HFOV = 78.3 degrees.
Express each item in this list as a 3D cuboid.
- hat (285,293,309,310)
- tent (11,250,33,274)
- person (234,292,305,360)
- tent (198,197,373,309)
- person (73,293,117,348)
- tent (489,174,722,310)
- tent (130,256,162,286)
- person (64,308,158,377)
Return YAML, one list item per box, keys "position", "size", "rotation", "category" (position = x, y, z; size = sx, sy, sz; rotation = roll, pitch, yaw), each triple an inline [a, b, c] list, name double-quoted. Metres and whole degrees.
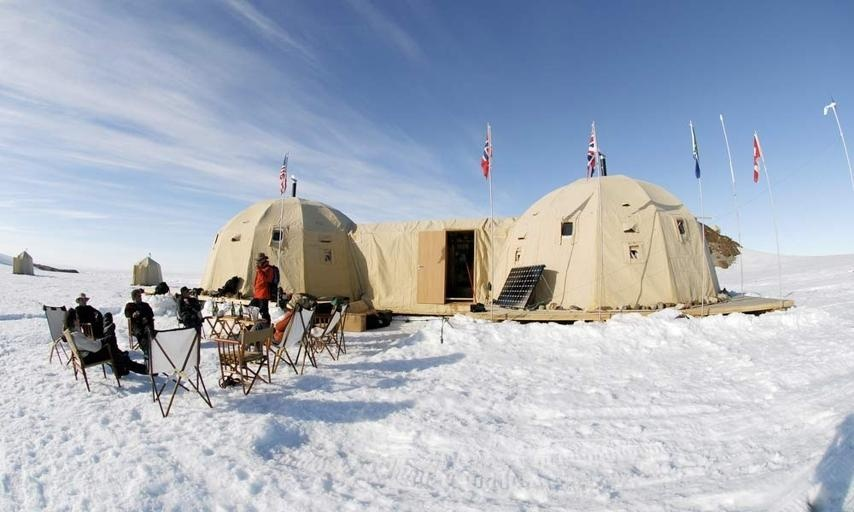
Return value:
- position: [-3.448, 1.145, 13.896]
  size: [0.773, 0.304, 0.961]
  rotation: [3, -6, -25]
  category: "hat"
- position: [-22.820, 0.438, 29.492]
  size: [1.286, 1.628, 0.974]
  rotation: [-4, -6, 38]
  category: "tent"
- position: [-3.172, 1.742, 11.360]
  size: [1.185, 1.303, 1.110]
  rotation: [0, -12, -26]
  category: "person"
- position: [-4.868, -0.490, 18.437]
  size: [5.292, 2.784, 5.118]
  rotation: [3, 3, -4]
  category: "tent"
- position: [-6.797, 1.270, 10.731]
  size: [0.654, 1.101, 0.474]
  rotation: [-17, 11, 23]
  category: "person"
- position: [5.469, -0.246, 15.174]
  size: [5.248, 3.034, 5.189]
  rotation: [3, -7, -25]
  category: "tent"
- position: [-14.513, 0.858, 27.019]
  size: [1.664, 1.570, 1.559]
  rotation: [-1, 0, -23]
  category: "tent"
- position: [-6.049, 1.618, 9.926]
  size: [0.714, 1.526, 1.416]
  rotation: [1, 12, 38]
  category: "person"
